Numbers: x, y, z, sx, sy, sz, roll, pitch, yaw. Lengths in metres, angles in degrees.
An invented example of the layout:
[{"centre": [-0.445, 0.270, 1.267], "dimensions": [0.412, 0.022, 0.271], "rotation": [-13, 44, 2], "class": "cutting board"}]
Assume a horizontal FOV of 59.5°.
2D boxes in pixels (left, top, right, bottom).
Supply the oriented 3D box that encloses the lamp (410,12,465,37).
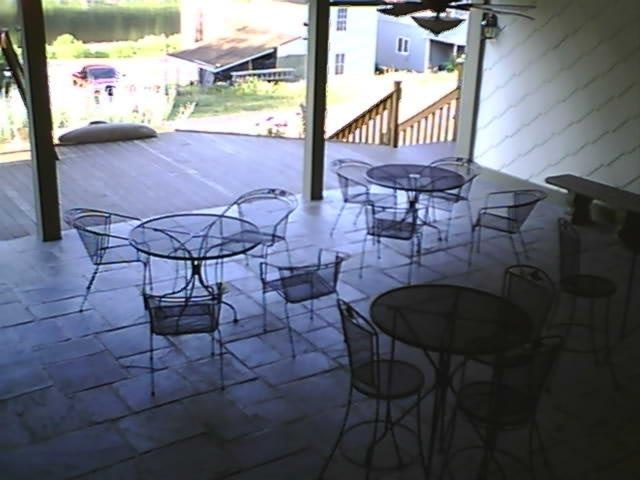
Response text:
[{"centre": [1.123, -2.122, 5.555], "dimensions": [0.318, 0.131, 0.285], "rotation": [-5, 19, -9], "class": "lamp"}]
